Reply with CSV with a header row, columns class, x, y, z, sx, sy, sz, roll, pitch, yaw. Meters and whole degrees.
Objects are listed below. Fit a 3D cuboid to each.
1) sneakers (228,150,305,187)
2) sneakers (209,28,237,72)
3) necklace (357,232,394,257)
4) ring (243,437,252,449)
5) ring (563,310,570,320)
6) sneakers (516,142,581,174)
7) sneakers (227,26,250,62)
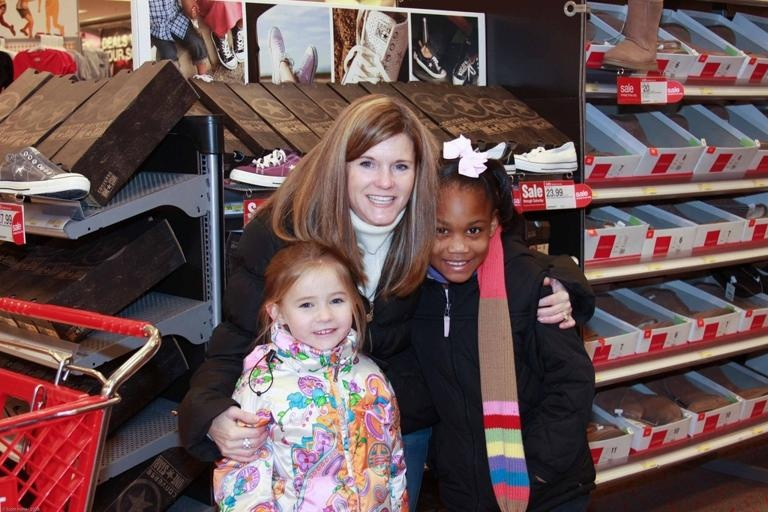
class,x,y,z,sx,sy,sz,roll,pitch,yaw
sneakers,-0.553,-0.412,2.658,0.184,0.181,0.513,18,18,21
sneakers,-0.879,-1.129,3.157,0.090,0.226,0.093,-29,13,-17
necklace,-0.027,-0.043,2.108,0.094,0.077,0.109,13,22,41
ring,-0.441,0.604,1.821,0.035,0.029,0.009,-4,2,-6
ring,0.717,0.232,2.194,0.025,0.031,0.009,10,0,-2
sneakers,0.919,-0.532,3.145,0.396,0.137,0.147,-1,3,-23
sneakers,-0.811,-1.172,3.174,0.073,0.191,0.093,-11,6,-17
